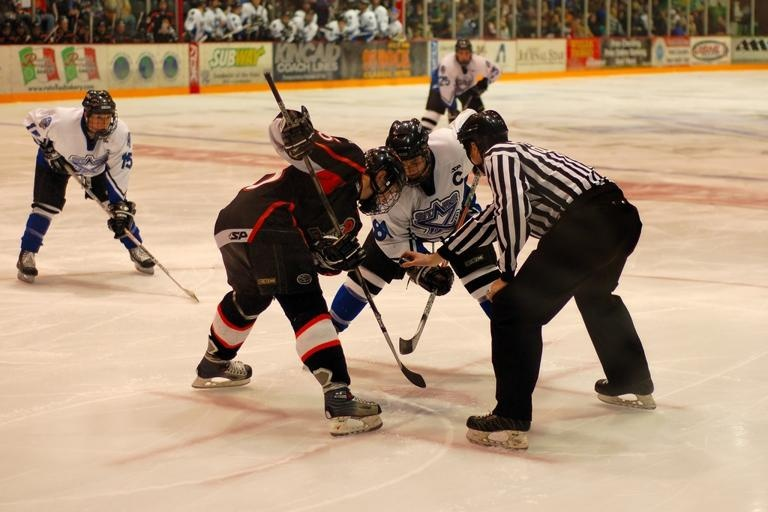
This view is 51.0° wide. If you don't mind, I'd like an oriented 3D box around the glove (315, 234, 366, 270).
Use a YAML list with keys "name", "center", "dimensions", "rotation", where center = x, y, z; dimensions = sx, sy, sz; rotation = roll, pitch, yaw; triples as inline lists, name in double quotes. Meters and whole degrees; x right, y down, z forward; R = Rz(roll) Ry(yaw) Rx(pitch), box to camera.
- name: "glove"
  center: [-0.221, -0.009, 3.500]
  dimensions: [0.259, 0.181, 0.169]
  rotation: [1, 13, 16]

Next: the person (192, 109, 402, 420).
- name: "person"
  center: [-0.417, 0.034, 3.580]
  dimensions: [0.918, 1.363, 0.498]
  rotation: [4, 16, 29]

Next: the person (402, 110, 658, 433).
- name: "person"
  center: [0.713, 0.135, 3.383]
  dimensions: [0.870, 1.228, 0.314]
  rotation: [-11, 16, -28]

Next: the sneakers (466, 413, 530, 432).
- name: "sneakers"
  center: [0.461, 0.684, 3.356]
  dimensions: [0.274, 0.085, 0.086]
  rotation: [4, 2, 13]

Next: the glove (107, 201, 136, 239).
- name: "glove"
  center: [-1.808, -0.255, 5.555]
  dimensions: [0.246, 0.220, 0.262]
  rotation: [-1, -15, -7]

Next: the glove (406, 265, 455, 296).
- name: "glove"
  center: [0.245, 0.116, 4.099]
  dimensions: [0.239, 0.114, 0.096]
  rotation: [16, 3, 28]

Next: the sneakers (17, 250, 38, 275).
- name: "sneakers"
  center: [-2.426, 0.056, 5.435]
  dimensions: [0.115, 0.159, 0.177]
  rotation: [-9, 14, -22]

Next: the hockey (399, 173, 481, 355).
- name: "hockey"
  center: [0.290, 0.047, 4.176]
  dimensions: [0.205, 1.209, 0.134]
  rotation: [30, -26, 4]

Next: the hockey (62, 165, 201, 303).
- name: "hockey"
  center: [-1.948, -0.140, 6.112]
  dimensions: [0.090, 1.575, 0.162]
  rotation: [-44, 10, 8]

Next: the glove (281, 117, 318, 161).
- name: "glove"
  center: [-0.366, -0.491, 3.404]
  dimensions: [0.151, 0.175, 0.147]
  rotation: [-1, 13, 8]

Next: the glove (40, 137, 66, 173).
- name: "glove"
  center: [-2.297, -0.693, 5.538]
  dimensions: [0.143, 0.238, 0.189]
  rotation: [-9, 14, -20]
